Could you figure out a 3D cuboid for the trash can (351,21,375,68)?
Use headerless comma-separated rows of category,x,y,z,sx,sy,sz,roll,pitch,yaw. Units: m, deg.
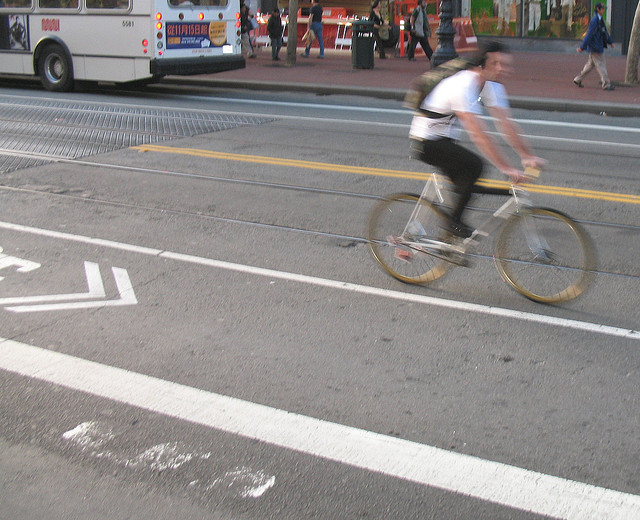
trash can,1.449,-7.245,21.256,0.729,1.434,1.042,2,18,2

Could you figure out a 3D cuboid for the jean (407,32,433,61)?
jean,3.910,-8.321,24.551,0.850,0.956,1.670,3,20,6

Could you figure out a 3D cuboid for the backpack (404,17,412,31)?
backpack,3.607,-9.765,26.013,0.222,0.487,0.895,3,20,7

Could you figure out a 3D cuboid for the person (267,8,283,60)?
person,-1.803,-8.920,24.793,0.525,1.877,1.088,0,18,-5

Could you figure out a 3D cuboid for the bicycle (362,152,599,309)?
bicycle,1.249,-0.288,5.099,1.837,1.155,0.838,7,22,28

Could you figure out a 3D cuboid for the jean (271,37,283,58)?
jean,-1.781,-8.386,24.721,0.346,0.717,0.610,6,19,16

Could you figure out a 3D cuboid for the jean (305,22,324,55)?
jean,-0.267,-9.162,25.976,0.708,1.265,1.742,0,19,-4
